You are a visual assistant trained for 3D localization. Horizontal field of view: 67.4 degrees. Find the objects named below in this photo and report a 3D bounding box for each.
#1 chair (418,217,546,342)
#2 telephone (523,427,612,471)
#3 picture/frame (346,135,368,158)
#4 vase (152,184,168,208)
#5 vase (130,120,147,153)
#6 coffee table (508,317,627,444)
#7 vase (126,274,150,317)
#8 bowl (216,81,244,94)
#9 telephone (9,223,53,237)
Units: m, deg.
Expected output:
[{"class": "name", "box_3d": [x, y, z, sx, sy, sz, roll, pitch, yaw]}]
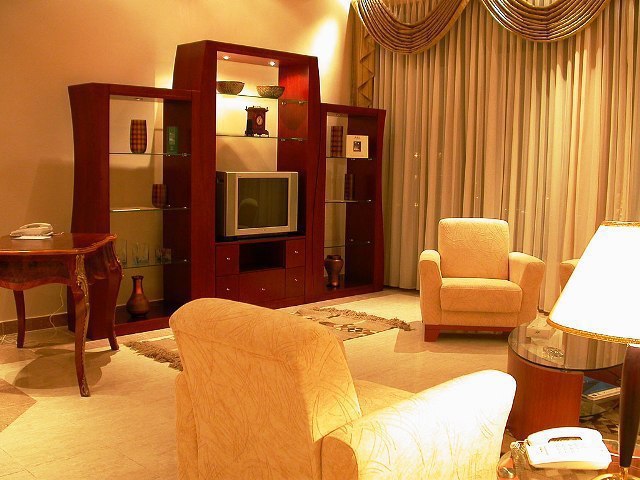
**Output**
[{"class": "chair", "box_3d": [1.559, 0.383, 4.786, 1.220, 1.352, 1.004, 0, -2, 6]}, {"class": "telephone", "box_3d": [0.889, 0.746, 1.722, 0.198, 0.081, 0.163, 2, 6, 5]}, {"class": "picture/frame", "box_3d": [0.448, -1.144, 5.929, 0.244, 0.251, 0.083, -2, 4, -30]}, {"class": "vase", "box_3d": [-1.548, -0.433, 4.686, 0.175, 0.281, 0.186, 0, 5, -14]}, {"class": "vase", "box_3d": [-1.756, -0.985, 4.590, 0.143, 0.333, 0.184, -3, 9, -27]}, {"class": "coffee table", "box_3d": [1.521, 0.709, 3.070, 0.604, 0.453, 0.840, 6, 12, 32]}, {"class": "vase", "box_3d": [-1.807, 0.546, 4.699, 0.215, 0.398, 0.281, -2, 9, -22]}, {"class": "bowl", "box_3d": [-0.978, -1.617, 5.107, 0.277, 0.153, 0.177, -1, 8, -16]}, {"class": "telephone", "box_3d": [-2.219, -0.066, 3.652, 0.215, 0.088, 0.162, -3, 7, -27]}]
